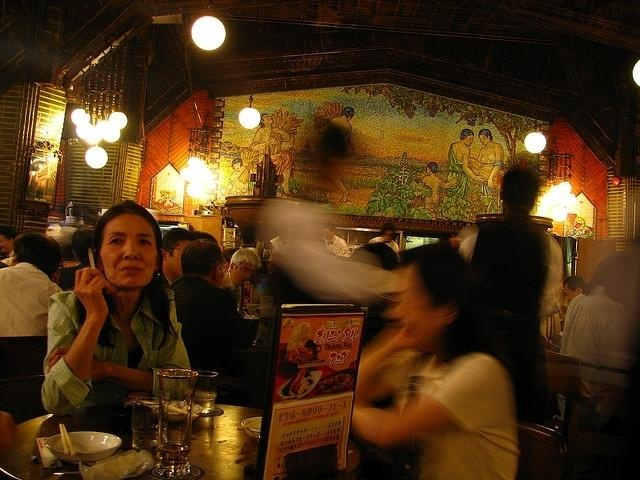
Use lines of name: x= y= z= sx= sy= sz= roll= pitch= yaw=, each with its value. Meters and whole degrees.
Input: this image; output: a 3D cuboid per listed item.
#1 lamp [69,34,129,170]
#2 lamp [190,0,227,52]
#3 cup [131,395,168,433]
lamp: x=-3.357 y=-2.230 z=8.386 sx=0.758 sy=2.353 sz=2.522 roll=4 pitch=-4 yaw=-21
lamp: x=-1.235 y=-2.356 z=6.002 sx=0.334 sy=0.380 sz=0.242 roll=3 pitch=-3 yaw=-6
cup: x=-0.571 y=0.557 z=1.781 sx=0.110 sy=0.126 sz=0.130 roll=1 pitch=-1 yaw=13
